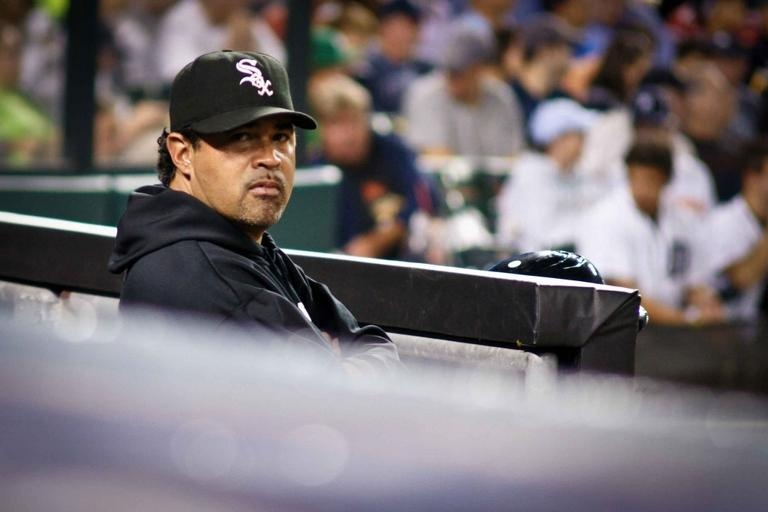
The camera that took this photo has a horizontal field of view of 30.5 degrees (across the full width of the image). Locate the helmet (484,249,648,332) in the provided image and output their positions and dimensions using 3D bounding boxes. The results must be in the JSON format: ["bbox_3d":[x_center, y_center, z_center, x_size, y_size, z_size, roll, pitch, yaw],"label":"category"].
[{"bbox_3d":[1.010,0.208,7.389,0.668,0.358,0.439,-4,-1,5],"label":"helmet"}]

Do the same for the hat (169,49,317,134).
[{"bbox_3d":[-0.740,-0.819,7.013,0.537,0.305,0.414,1,5,39],"label":"hat"}]
